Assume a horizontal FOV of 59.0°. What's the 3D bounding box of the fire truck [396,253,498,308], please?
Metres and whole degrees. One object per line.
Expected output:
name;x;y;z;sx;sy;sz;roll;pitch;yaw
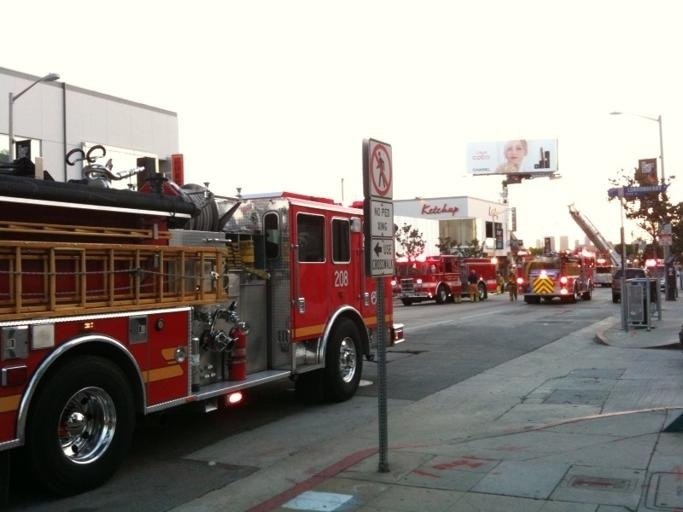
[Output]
fire truck;6.458;1.846;37.990;5.423;3.442;6.658;1;2;32

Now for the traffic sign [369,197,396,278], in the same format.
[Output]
traffic sign;0.426;-0.182;6.482;0.099;0.800;0.525;-5;-1;27
